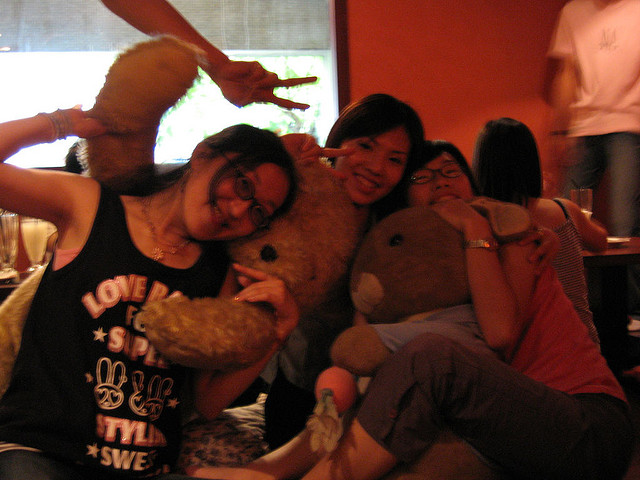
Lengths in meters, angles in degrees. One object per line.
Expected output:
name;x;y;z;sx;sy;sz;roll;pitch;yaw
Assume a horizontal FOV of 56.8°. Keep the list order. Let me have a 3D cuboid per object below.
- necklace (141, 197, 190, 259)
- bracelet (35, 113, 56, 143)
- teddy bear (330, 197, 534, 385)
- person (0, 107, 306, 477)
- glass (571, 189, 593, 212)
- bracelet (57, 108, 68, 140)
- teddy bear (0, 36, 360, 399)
necklace;-0.344;-0.025;1.323;0.037;0.123;0.081;-11;5;40
bracelet;-0.592;-0.244;1.288;0.028;0.062;0.029;-4;8;-39
teddy bear;0.246;0.208;1.590;0.402;0.508;0.446;4;-30;-3
person;-0.354;0.103;1.303;0.649;0.774;0.299;1;6;-6
glass;0.952;-0.145;2.163;0.065;0.078;0.159;4;6;21
bracelet;-0.553;-0.254;1.291;0.012;0.048;0.047;-4;8;-15
teddy bear;-0.296;-0.063;1.333;0.804;0.782;0.304;1;6;-6
